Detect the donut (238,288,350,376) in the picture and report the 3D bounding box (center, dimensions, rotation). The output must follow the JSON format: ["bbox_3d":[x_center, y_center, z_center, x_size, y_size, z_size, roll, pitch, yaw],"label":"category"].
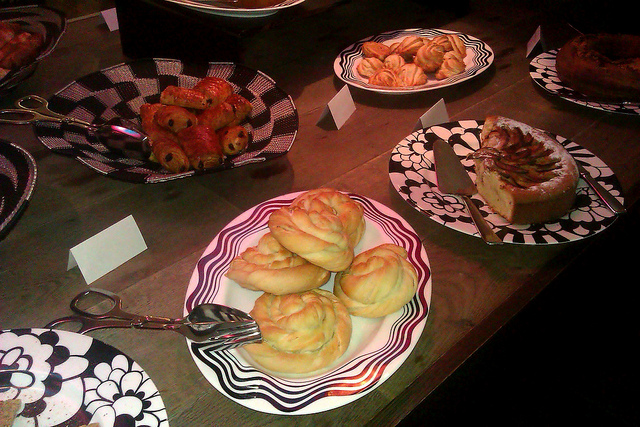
[{"bbox_3d":[-0.041,0.193,0.763,0.183,0.051,0.148,2,64,0],"label":"donut"}]

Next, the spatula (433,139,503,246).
[{"bbox_3d":[0.319,-0.056,1.037,0.071,0.029,0.296,-2,43,-15],"label":"spatula"}]

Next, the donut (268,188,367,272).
[{"bbox_3d":[0.000,0.015,0.826,0.159,0.062,0.153,22,65,10],"label":"donut"}]

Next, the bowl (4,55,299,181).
[{"bbox_3d":[-0.347,-0.217,1.070,0.522,0.090,0.411,-5,44,-15],"label":"bowl"}]

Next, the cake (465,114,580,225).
[{"bbox_3d":[0.471,-0.104,1.062,0.203,0.085,0.261,-6,48,8],"label":"cake"}]

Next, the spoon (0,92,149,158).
[{"bbox_3d":[-0.549,-0.201,1.045,0.302,0.072,0.097,19,47,-13],"label":"spoon"}]
